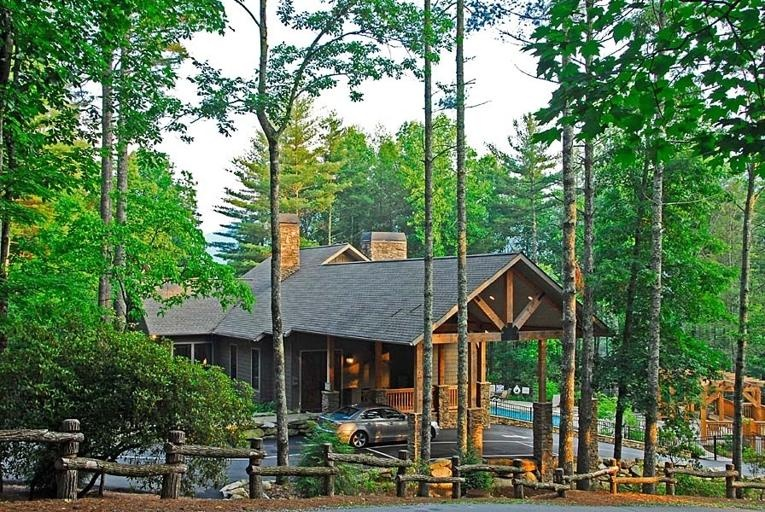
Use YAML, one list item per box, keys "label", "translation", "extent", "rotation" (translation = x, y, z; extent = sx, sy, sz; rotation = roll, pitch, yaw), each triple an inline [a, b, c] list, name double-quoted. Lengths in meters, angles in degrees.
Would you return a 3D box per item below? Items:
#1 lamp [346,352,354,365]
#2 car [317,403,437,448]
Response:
- label: "lamp"
  translation: [-1.475, 4.575, 54.525]
  extent: [0.156, 0.519, 0.485]
  rotation: [-10, -18, 42]
- label: "car"
  translation: [-0.556, 6.813, 49.439]
  extent: [4.063, 1.357, 1.872]
  rotation: [2, -1, -31]
